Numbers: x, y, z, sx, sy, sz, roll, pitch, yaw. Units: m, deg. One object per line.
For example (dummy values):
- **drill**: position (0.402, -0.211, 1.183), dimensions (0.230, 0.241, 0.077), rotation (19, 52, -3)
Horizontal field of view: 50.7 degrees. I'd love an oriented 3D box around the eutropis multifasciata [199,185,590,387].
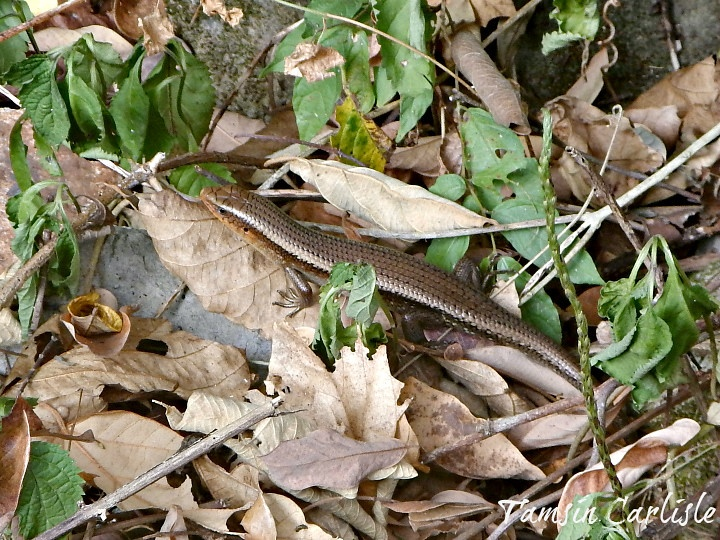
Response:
- **eutropis multifasciata**: position (0.136, 0.068, 2.943), dimensions (1.253, 0.160, 0.349), rotation (26, 61, -7)
